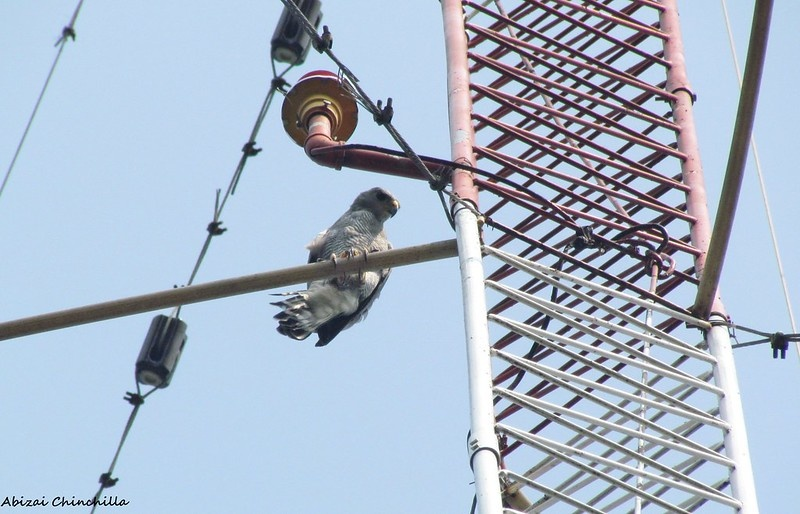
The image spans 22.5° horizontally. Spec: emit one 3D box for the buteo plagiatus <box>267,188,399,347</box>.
[{"bbox_3d":[-0.711,0.213,22.321,1.298,1.294,0.713,-36,-75,-2],"label":"buteo plagiatus"}]
